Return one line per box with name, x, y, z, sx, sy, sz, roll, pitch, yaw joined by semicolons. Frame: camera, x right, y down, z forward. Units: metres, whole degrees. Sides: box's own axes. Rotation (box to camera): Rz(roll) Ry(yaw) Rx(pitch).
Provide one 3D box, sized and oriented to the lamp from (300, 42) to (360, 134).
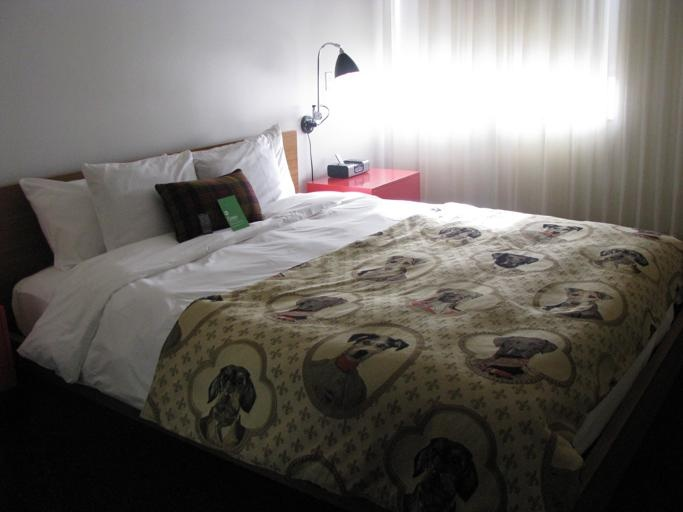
lamp;0.015;-1.491;3.980;0.521;0.754;0.732;4;22;29
